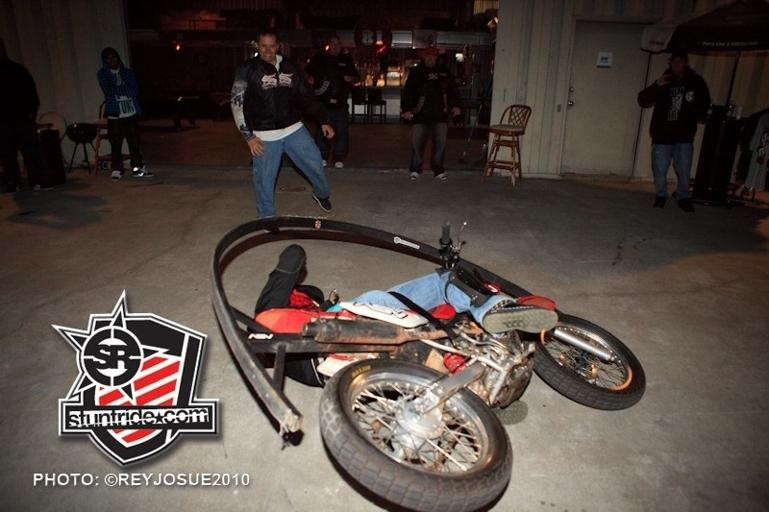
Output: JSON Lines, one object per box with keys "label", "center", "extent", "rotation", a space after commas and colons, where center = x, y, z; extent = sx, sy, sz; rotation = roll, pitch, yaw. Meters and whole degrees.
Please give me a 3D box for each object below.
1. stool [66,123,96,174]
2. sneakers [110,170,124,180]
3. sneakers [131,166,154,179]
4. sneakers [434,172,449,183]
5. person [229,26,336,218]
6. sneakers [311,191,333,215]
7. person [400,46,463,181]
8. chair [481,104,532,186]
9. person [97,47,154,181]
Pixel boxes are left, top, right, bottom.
{"label": "stool", "center": [-6.337, -2.294, 10.024], "extent": [0.635, 1.000, 1.387], "rotation": [-10, 22, -32]}
{"label": "sneakers", "center": [-5.282, -1.608, 9.453], "extent": [0.143, 0.106, 0.233], "rotation": [-2, 31, -9]}
{"label": "sneakers", "center": [-4.844, -1.680, 9.734], "extent": [0.452, 0.248, 0.234], "rotation": [0, 34, -10]}
{"label": "sneakers", "center": [1.181, -1.632, 9.950], "extent": [0.203, 0.133, 0.366], "rotation": [-2, 19, 5]}
{"label": "person", "center": [-1.393, -1.761, 6.541], "extent": [1.256, 2.375, 0.481], "rotation": [-12, 24, -35]}
{"label": "sneakers", "center": [-0.929, -0.809, 7.417], "extent": [0.189, 0.449, 0.165], "rotation": [-38, 5, 35]}
{"label": "person", "center": [0.931, -2.863, 9.660], "extent": [1.119, 2.576, 1.311], "rotation": [4, 19, 6]}
{"label": "chair", "center": [2.597, -2.370, 10.030], "extent": [0.833, 1.573, 1.514], "rotation": [7, 19, 14]}
{"label": "person", "center": [-5.124, -2.789, 9.383], "extent": [0.723, 2.447, 0.660], "rotation": [-9, 22, -28]}
